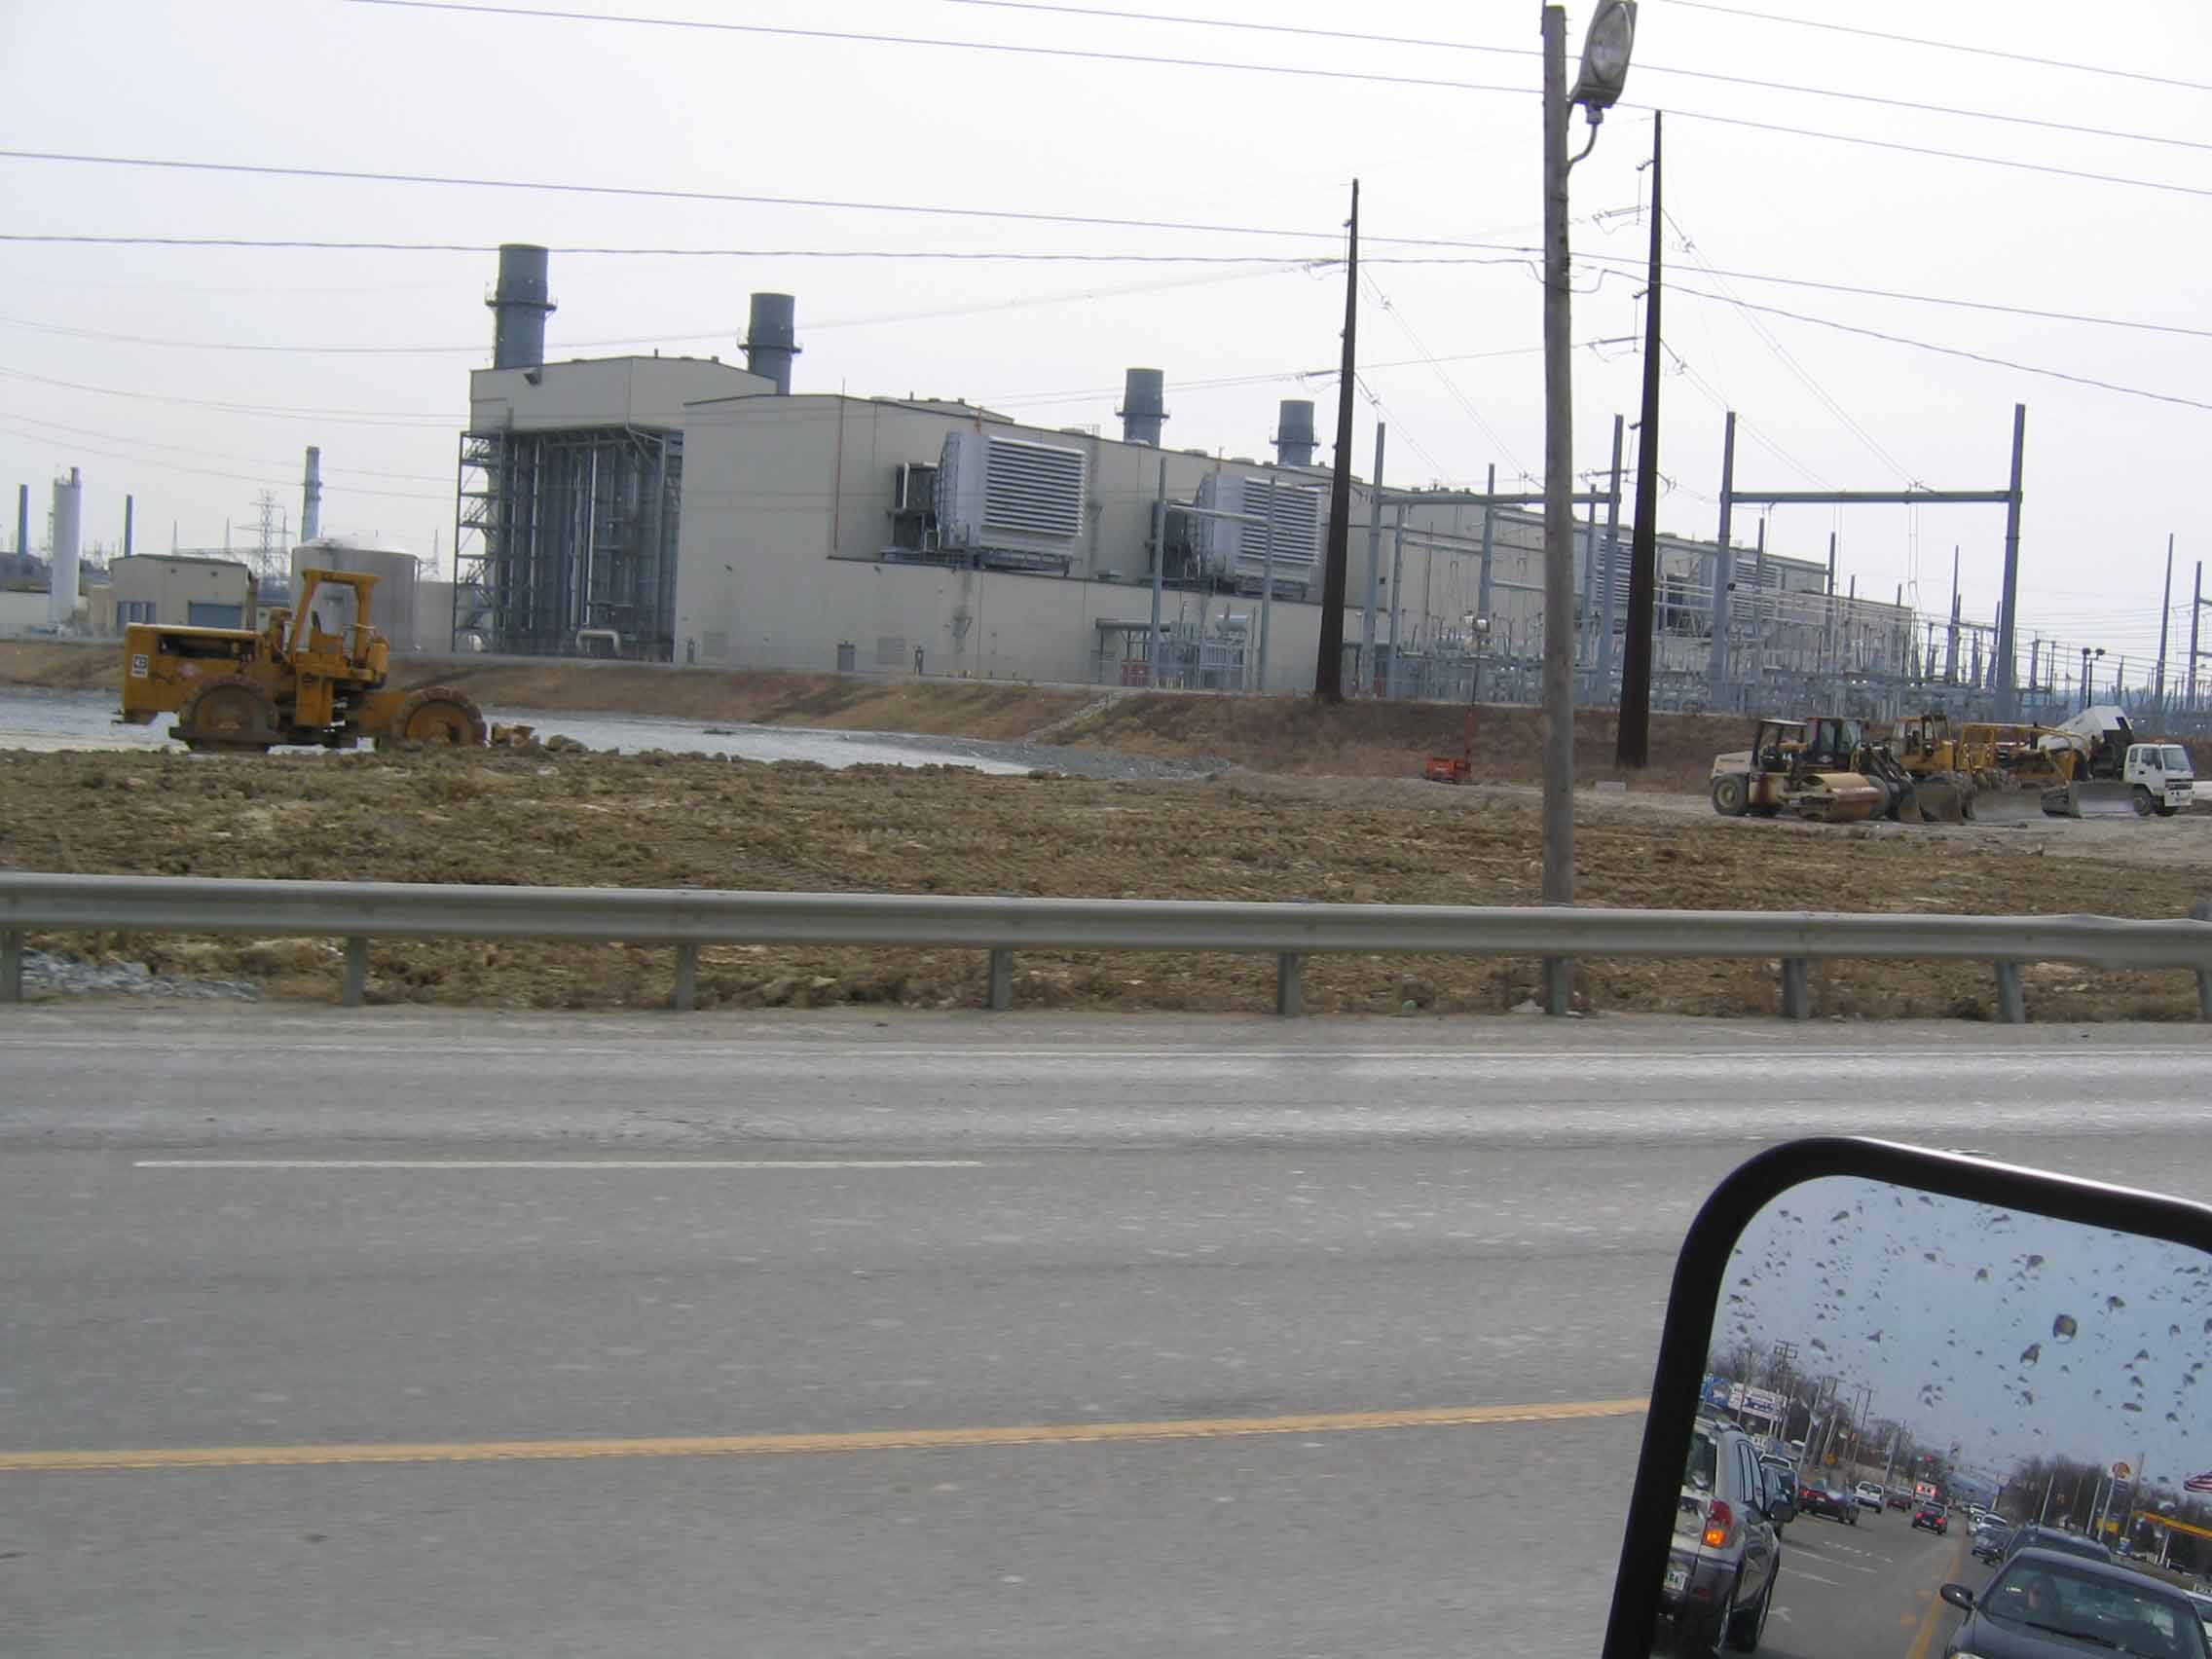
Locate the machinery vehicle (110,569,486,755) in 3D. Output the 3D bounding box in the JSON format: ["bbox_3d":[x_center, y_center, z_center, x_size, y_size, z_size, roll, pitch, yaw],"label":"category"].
[{"bbox_3d":[-10.928,-2.215,41.955,4.849,2.063,2.403,3,11,-19],"label":"machinery vehicle"}]
